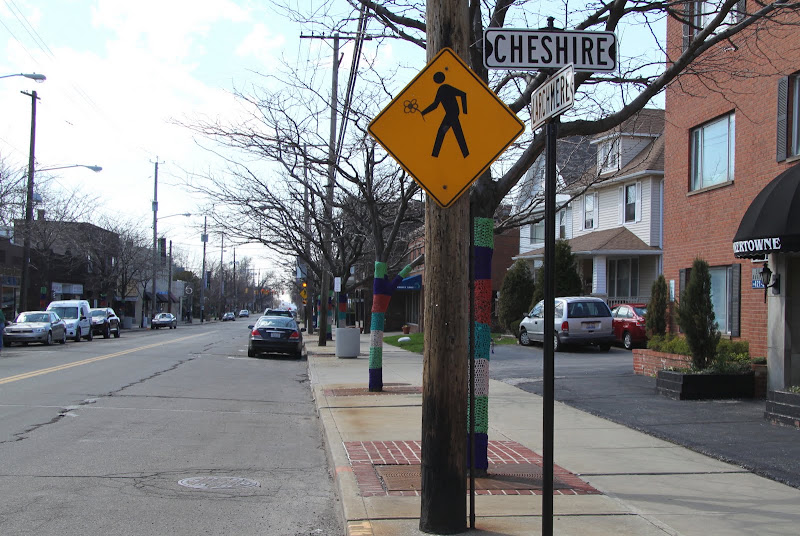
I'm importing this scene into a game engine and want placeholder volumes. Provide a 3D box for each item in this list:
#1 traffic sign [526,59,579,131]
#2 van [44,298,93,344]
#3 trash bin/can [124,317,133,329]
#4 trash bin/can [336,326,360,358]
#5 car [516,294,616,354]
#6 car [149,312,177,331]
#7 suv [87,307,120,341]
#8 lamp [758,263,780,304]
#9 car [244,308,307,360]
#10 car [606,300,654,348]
[{"bbox_3d":[1.662,-1.909,9.048,0.031,0.509,0.722,2,-6,-31],"label":"traffic sign"},{"bbox_3d":[-15.776,2.495,39.653,1.407,1.315,2.520,-1,-7,-3],"label":"van"},{"bbox_3d":[-23.041,4.620,69.948,0.819,0.976,0.841,4,5,15],"label":"trash bin/can"},{"bbox_3d":[-1.727,2.506,27.706,0.854,1.005,0.915,0,-4,-3],"label":"trash bin/can"},{"bbox_3d":[5.971,2.407,29.946,2.535,2.027,4.733,1,1,-13],"label":"car"},{"bbox_3d":[-19.689,4.347,69.010,1.113,0.866,2.593,-2,-9,-1],"label":"car"},{"bbox_3d":[-16.205,3.008,45.052,1.157,0.966,2.216,-1,-9,-2],"label":"suv"},{"bbox_3d":[7.156,0.253,16.015,0.500,0.829,0.368,1,-1,23],"label":"lamp"},{"bbox_3d":[-4.316,2.380,28.793,1.775,1.541,2.128,1,-6,-9],"label":"car"},{"bbox_3d":[8.115,2.064,29.168,0.922,0.848,1.969,-1,2,-5],"label":"car"}]
